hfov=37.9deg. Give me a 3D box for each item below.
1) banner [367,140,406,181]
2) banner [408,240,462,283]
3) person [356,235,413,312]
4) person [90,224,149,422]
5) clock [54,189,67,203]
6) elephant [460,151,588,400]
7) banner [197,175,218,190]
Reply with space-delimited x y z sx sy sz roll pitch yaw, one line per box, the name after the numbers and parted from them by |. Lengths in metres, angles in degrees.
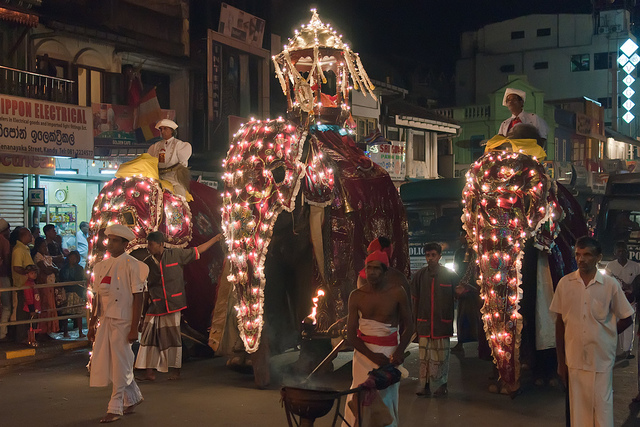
2.666 -2.026 34.778 0.214 1.300 2.067 -12 13 -37 | banner
2.823 1.136 23.120 1.751 0.953 0.146 -6 -13 36 | banner
1.135 0.901 15.180 0.813 1.418 1.332 -1 0 23 | person
-3.418 1.861 15.940 0.911 3.328 0.369 1 -3 -10 | person
-6.974 -0.493 25.034 0.384 0.397 0.112 -6 5 -44 | clock
3.713 1.089 16.707 1.980 4.392 1.014 2 -4 -29 | elephant
-3.309 -0.983 27.555 0.391 0.324 0.831 0 -3 13 | banner
